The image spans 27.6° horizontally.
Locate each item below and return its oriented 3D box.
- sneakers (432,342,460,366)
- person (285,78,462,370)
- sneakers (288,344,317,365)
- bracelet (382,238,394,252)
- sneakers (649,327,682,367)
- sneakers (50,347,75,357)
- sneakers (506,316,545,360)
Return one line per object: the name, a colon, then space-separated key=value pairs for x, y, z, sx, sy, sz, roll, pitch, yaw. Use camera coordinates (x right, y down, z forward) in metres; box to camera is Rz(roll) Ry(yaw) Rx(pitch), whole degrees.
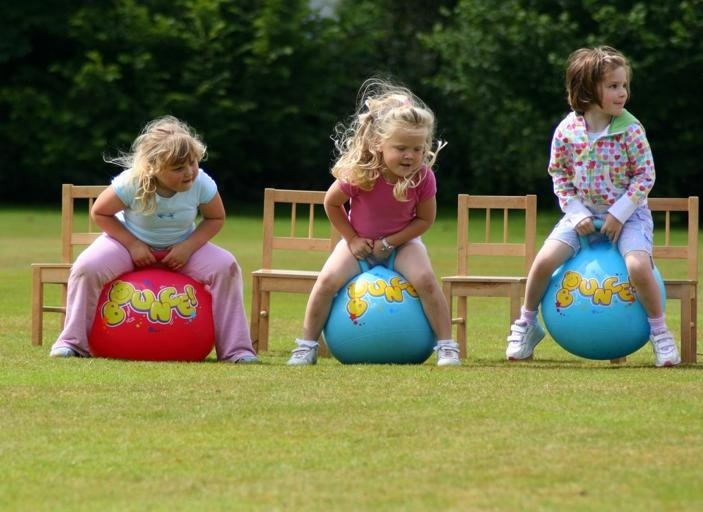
sneakers: x=0.774 y=0.791 z=11.575 sx=0.207 sy=0.207 sz=0.199 roll=0 pitch=3 yaw=1
person: x=0.232 y=-0.264 z=11.807 sx=1.340 sy=2.290 sz=0.676 roll=0 pitch=3 yaw=2
sneakers: x=-0.395 y=0.803 z=11.665 sx=0.235 sy=0.171 sz=0.234 roll=0 pitch=3 yaw=-3
bracelet: x=0.287 y=-0.076 z=11.644 sx=0.036 sy=0.081 sz=0.113 roll=-46 pitch=41 yaw=-11
sneakers: x=2.554 y=0.754 z=11.642 sx=0.258 sy=0.314 sz=0.158 roll=0 pitch=3 yaw=-3
sneakers: x=-2.332 y=0.785 z=11.643 sx=0.208 sy=0.086 sz=0.089 roll=0 pitch=3 yaw=-9
sneakers: x=1.409 y=0.655 z=11.967 sx=0.177 sy=0.212 sz=0.481 roll=13 pitch=50 yaw=43
